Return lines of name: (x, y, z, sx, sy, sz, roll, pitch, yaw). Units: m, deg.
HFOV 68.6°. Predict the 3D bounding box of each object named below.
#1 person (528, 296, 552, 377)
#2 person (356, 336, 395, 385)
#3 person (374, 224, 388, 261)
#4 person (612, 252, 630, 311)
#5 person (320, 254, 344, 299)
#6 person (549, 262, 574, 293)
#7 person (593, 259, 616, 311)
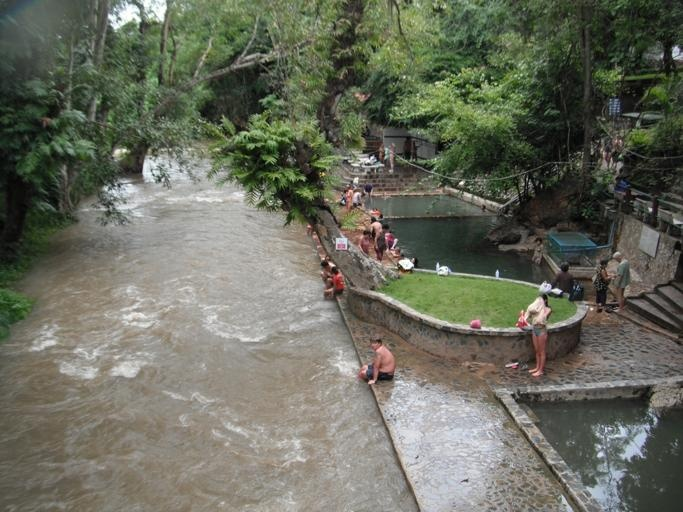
person: (4.778, 1.871, 12.114, 0.553, 1.933, 0.818, 0, 22, 7)
person: (0.876, 2.531, 12.071, 0.867, 1.182, 0.496, -3, 22, 1)
person: (1.539, -0.472, 18.878, 0.469, 1.490, 0.835, -2, 21, 3)
person: (8.571, 0.708, 15.349, 0.484, 1.881, 0.969, 10, 25, 30)
person: (-0.271, 0.656, 17.531, 0.765, 0.932, 1.824, -4, 21, -2)
person: (6.589, 0.539, 14.722, 0.506, 0.906, 0.899, 7, 23, 25)
person: (8.111, 0.860, 15.407, 0.488, 1.593, 0.693, 1, 22, 11)
